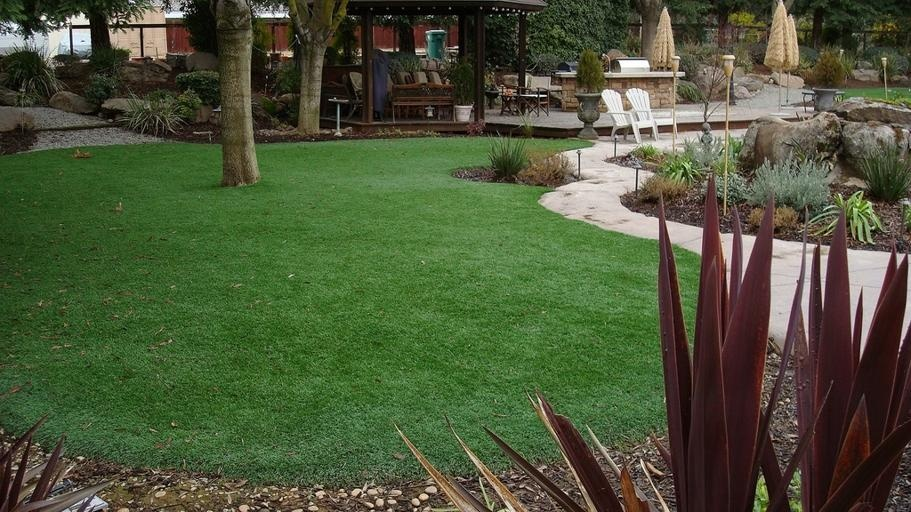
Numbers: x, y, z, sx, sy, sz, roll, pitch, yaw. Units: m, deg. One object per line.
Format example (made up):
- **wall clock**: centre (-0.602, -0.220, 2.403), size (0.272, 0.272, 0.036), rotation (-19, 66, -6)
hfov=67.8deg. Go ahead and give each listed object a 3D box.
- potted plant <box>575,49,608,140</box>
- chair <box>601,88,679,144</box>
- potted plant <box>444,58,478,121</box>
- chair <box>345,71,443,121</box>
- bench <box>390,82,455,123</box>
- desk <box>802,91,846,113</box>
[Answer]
- **potted plant**: centre (3.117, -3.816, 15.882), size (0.604, 2.070, 1.439), rotation (1, 12, 12)
- **chair**: centre (3.881, -3.130, 14.989), size (1.158, 1.143, 2.937), rotation (1, 13, 15)
- **potted plant**: centre (0.174, -4.516, 18.311), size (0.670, 1.634, 1.348), rotation (-2, 12, 1)
- **chair**: centre (-1.536, -4.397, 18.400), size (2.464, 1.249, 1.739), rotation (-6, 13, -20)
- **bench**: centre (-0.874, -4.253, 18.554), size (1.634, 0.971, 0.580), rotation (0, 13, -2)
- **desk**: centre (11.628, -4.992, 21.511), size (0.970, 0.567, 6.453), rotation (5, 14, 27)
